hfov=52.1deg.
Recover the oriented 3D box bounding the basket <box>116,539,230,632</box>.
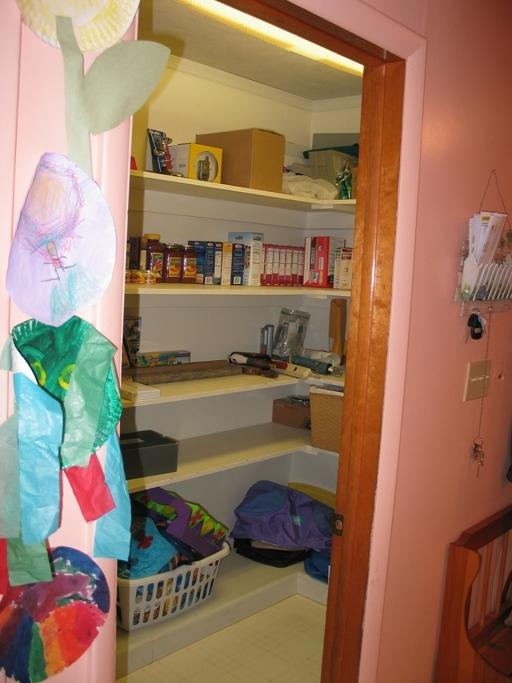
[{"bbox_3d":[-0.379,1.015,2.219,0.368,0.186,0.280,-4,4,-42],"label":"basket"}]

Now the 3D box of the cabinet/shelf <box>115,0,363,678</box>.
[{"bbox_3d":[-0.093,-0.038,2.562,0.630,2.618,1.657,6,9,33],"label":"cabinet/shelf"}]

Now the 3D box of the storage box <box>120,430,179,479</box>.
[{"bbox_3d":[-0.418,0.436,2.058,0.274,0.126,0.271,-2,8,-26],"label":"storage box"}]

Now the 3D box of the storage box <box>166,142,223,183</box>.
[{"bbox_3d":[-0.252,-0.696,2.145,0.190,0.195,0.141,-6,15,-34],"label":"storage box"}]

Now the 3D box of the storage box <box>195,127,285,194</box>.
[{"bbox_3d":[-0.021,-0.809,2.358,0.177,0.235,0.333,-3,16,-29],"label":"storage box"}]
